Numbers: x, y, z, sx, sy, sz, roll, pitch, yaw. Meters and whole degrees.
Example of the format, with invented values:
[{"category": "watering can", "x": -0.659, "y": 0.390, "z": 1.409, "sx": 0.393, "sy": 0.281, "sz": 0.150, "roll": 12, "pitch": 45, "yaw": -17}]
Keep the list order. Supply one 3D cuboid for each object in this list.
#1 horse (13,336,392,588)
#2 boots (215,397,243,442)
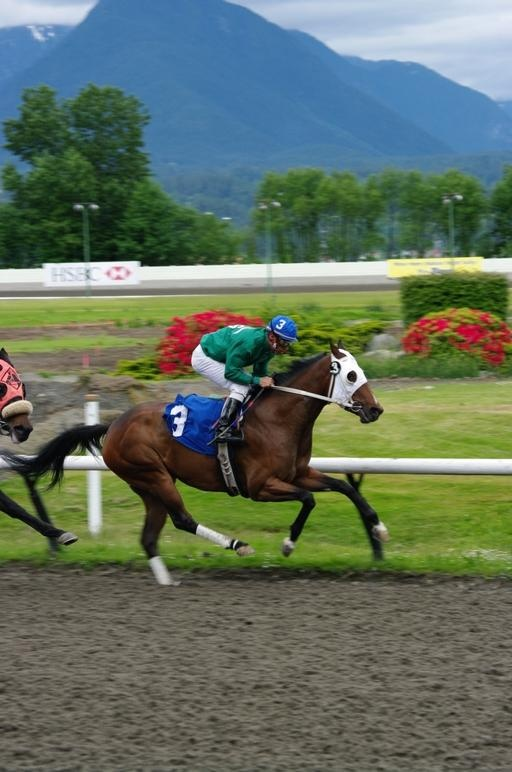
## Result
[{"category": "horse", "x": -0.204, "y": 0.348, "z": 4.652, "sx": 1.686, "sy": 1.098, "sz": 0.675, "roll": 0, "pitch": 7, "yaw": 2}, {"category": "boots", "x": -0.122, "y": 0.156, "z": 4.489, "sx": 0.122, "sy": 0.200, "sz": 0.128, "roll": 0, "pitch": 6, "yaw": -1}]
